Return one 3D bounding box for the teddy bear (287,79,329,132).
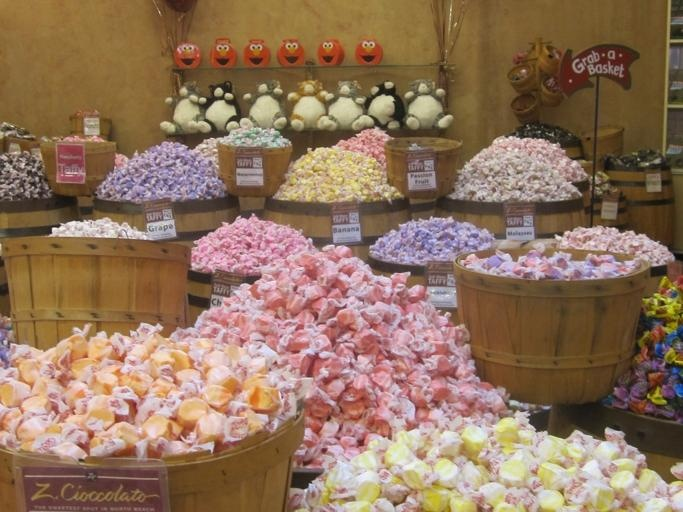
[{"bbox_3d":[-0.272,-1.302,5.315,0.369,0.462,0.332,-2,0,5],"label":"teddy bear"}]

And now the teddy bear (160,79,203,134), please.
[{"bbox_3d":[-1.384,-1.321,5.452,0.383,0.488,0.352,-2,3,8],"label":"teddy bear"}]

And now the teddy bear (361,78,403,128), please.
[{"bbox_3d":[0.356,-1.289,5.348,0.361,0.470,0.361,-4,-6,20],"label":"teddy bear"}]

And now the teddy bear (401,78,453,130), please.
[{"bbox_3d":[0.690,-1.240,5.277,0.493,0.529,0.419,-1,6,-2],"label":"teddy bear"}]

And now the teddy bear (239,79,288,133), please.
[{"bbox_3d":[-0.669,-1.315,5.387,0.359,0.466,0.336,-2,4,-4],"label":"teddy bear"}]
